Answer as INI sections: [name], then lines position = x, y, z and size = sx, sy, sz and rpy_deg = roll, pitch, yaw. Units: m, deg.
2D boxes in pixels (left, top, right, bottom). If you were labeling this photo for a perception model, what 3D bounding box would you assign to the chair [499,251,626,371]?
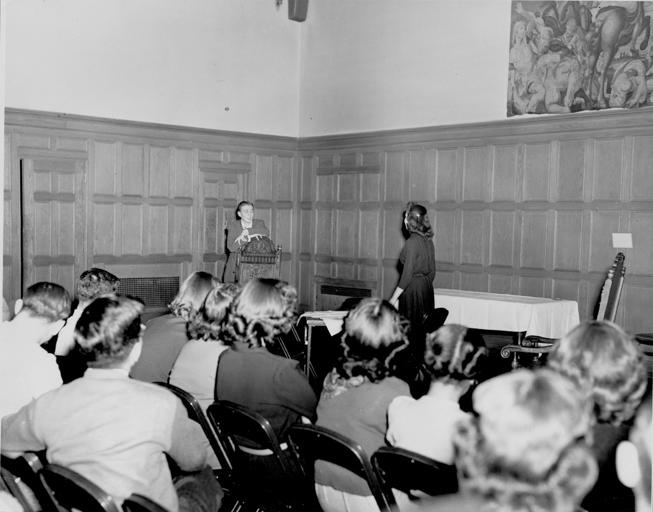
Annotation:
[chair]
position = 2.863, 0.598, 6.161
size = 1.018, 1.762, 0.966
rpy_deg = 15, 5, 33
